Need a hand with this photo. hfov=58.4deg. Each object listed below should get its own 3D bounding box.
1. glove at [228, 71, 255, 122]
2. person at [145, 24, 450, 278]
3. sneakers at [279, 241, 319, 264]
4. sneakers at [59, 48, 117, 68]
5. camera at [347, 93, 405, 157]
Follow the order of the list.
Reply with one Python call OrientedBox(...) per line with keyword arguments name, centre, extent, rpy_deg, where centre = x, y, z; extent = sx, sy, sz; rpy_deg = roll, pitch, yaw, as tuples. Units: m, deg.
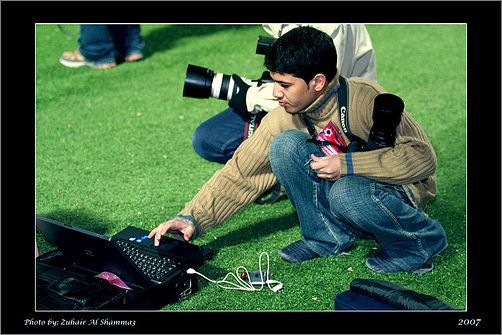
OrientedBox(name="glove", centre=(-0.078, -0.504, 3.165), extent=(0.081, 0.243, 0.259), rpy_deg=(-11, 22, -41))
OrientedBox(name="person", centre=(0.423, -0.095, 2.746), extent=(1.560, 1.344, 0.768), rpy_deg=(-1, 34, 8))
OrientedBox(name="sneakers", centre=(0.306, 0.538, 2.874), extent=(0.228, 0.080, 0.114), rpy_deg=(-2, 22, -28))
OrientedBox(name="sneakers", centre=(-1.752, -1.176, 4.936), extent=(0.619, 0.233, 0.215), rpy_deg=(4, 10, -1))
OrientedBox(name="camera", centre=(0.739, -0.252, 2.652), extent=(0.233, 0.392, 0.150), rpy_deg=(-4, 50, 3))
